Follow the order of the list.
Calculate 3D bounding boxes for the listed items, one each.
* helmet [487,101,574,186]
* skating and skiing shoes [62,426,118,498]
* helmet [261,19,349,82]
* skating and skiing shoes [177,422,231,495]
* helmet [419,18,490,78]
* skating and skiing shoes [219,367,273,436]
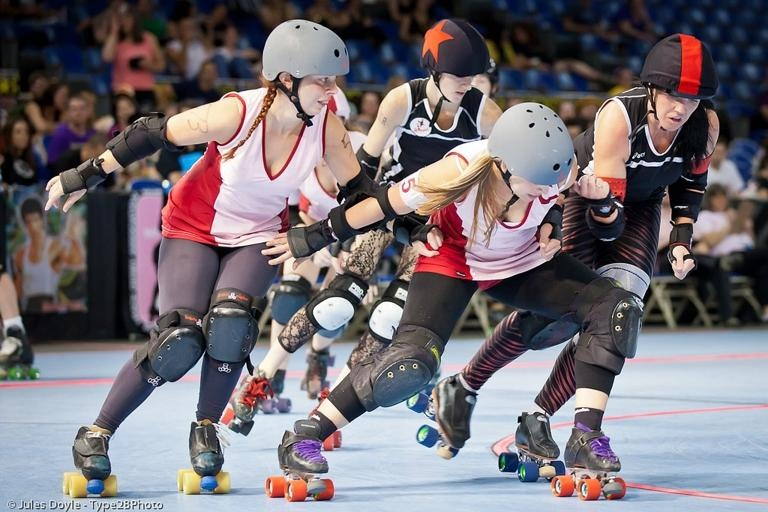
[{"bbox_3d":[0.898,-0.731,6.263,0.415,0.447,0.508,-38,53,-26],"label":"helmet"},{"bbox_3d":[-1.717,1.215,6.072,0.271,0.383,0.215,-1,5,-10],"label":"skating and skiing shoes"},{"bbox_3d":[-0.475,-1.195,6.405,0.575,0.520,0.462,3,4,22],"label":"helmet"},{"bbox_3d":[-1.066,1.203,6.136,0.265,0.404,0.189,-1,5,-16],"label":"skating and skiing shoes"},{"bbox_3d":[0.508,-1.449,7.224,0.529,0.519,0.611,-3,18,-8],"label":"helmet"},{"bbox_3d":[-0.879,0.950,7.041,0.149,0.283,0.474,30,26,-18],"label":"skating and skiing shoes"}]
